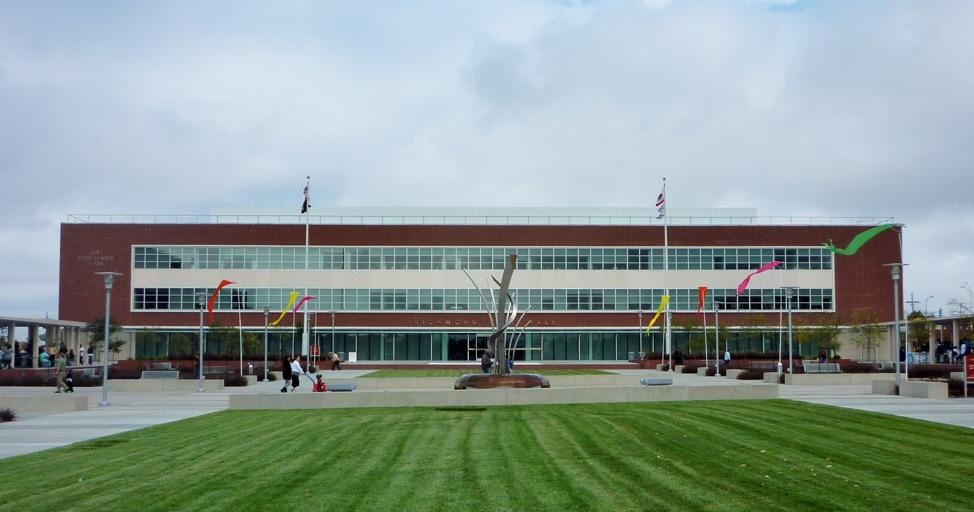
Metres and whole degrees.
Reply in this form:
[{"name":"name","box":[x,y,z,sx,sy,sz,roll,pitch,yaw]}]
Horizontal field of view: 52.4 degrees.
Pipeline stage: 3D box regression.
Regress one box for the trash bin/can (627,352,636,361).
[{"name":"trash bin/can","box":[16.586,11.263,111.502,1.342,1.084,0.897,-1,-7,4]}]

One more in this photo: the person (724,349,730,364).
[{"name":"person","box":[22.480,9.502,92.504,0.358,1.284,1.303,4,13,20]}]
